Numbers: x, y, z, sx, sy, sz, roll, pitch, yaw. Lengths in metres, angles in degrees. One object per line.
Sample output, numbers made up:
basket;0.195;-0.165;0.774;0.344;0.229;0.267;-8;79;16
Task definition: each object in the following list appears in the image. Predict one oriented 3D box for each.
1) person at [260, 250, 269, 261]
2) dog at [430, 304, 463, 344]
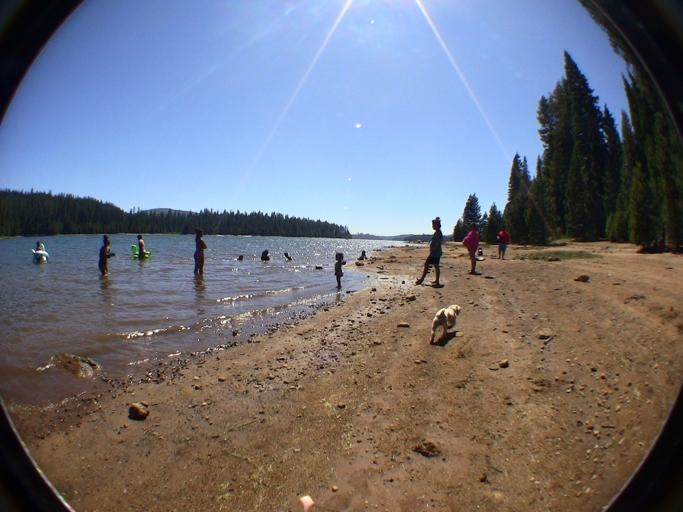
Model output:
person;-5.992;-0.125;33.652;0.632;1.081;0.945;0;-5;-4
dog;2.463;1.467;9.998;0.368;0.735;1.384;6;13;24
